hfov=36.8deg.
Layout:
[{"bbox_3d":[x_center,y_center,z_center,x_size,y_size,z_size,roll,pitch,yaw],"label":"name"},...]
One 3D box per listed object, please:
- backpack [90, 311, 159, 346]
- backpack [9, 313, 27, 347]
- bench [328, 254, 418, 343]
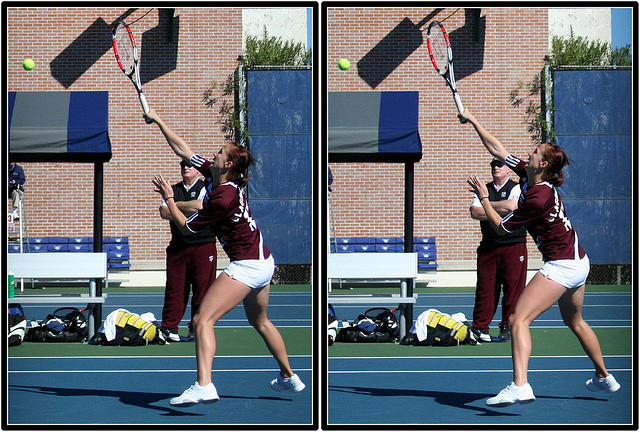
[{"bbox_3d":[-3.114,1.764,15.465,1.188,0.317,0.876,-10,29,0],"label":"backpack"},{"bbox_3d":[-4.825,1.788,15.200,0.266,0.455,0.195,2,-6,-27],"label":"backpack"},{"bbox_3d":[0.818,1.258,14.276,2.007,1.678,0.743,1,-6,-10],"label":"bench"}]
